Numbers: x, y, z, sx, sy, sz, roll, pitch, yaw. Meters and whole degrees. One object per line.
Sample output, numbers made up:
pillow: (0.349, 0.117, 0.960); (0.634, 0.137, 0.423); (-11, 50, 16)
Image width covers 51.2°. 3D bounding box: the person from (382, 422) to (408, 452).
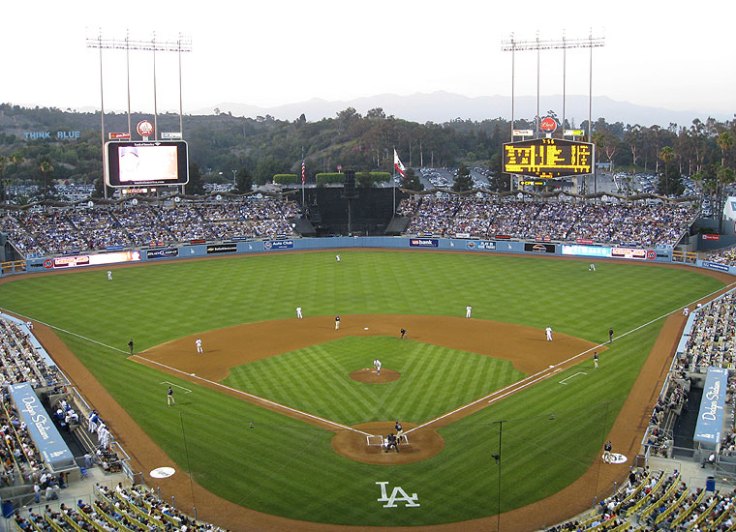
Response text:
person: (1.483, 9.940, 44.504); (1.255, 0.692, 1.679); (-2, 17, -2)
